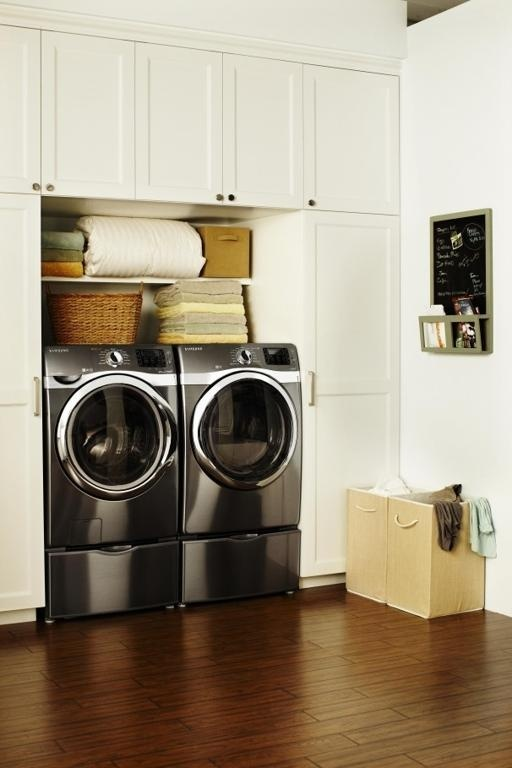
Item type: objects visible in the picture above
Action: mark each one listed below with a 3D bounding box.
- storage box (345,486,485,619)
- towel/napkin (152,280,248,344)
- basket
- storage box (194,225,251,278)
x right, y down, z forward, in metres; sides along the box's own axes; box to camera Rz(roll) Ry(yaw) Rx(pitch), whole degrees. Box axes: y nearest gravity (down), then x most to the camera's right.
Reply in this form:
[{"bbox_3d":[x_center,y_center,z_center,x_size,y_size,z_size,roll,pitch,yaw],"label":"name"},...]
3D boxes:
[{"bbox_3d":[0.769,0.621,3.012,0.452,0.577,0.728,0,1,-27],"label":"storage box"},{"bbox_3d":[-0.299,-0.373,3.218,0.485,0.338,0.266,0,-6,1],"label":"towel/napkin"},{"bbox_3d":[-0.743,-0.241,2.958,0.421,0.297,0.262,-2,1,-24],"label":"basket"},{"bbox_3d":[-0.173,-0.696,3.441,0.265,0.280,0.280,-1,2,-29],"label":"storage box"}]
